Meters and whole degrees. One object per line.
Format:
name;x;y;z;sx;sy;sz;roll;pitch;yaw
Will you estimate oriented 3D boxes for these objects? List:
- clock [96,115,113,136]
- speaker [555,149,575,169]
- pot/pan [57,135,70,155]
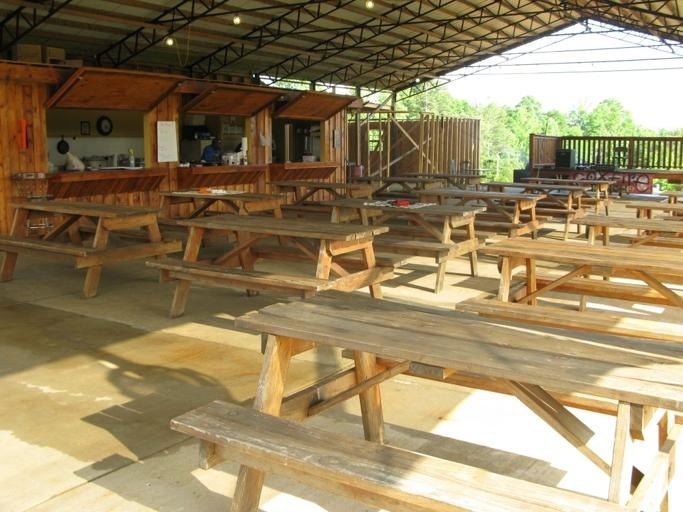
clock;-6.337;-3.504;13.644;0.096;0.511;0.604;8;35;24
speaker;7.648;-3.330;17.542;0.610;0.699;0.591;1;8;14
pot/pan;-6.983;-2.764;12.870;0.091;0.342;0.350;12;12;41
